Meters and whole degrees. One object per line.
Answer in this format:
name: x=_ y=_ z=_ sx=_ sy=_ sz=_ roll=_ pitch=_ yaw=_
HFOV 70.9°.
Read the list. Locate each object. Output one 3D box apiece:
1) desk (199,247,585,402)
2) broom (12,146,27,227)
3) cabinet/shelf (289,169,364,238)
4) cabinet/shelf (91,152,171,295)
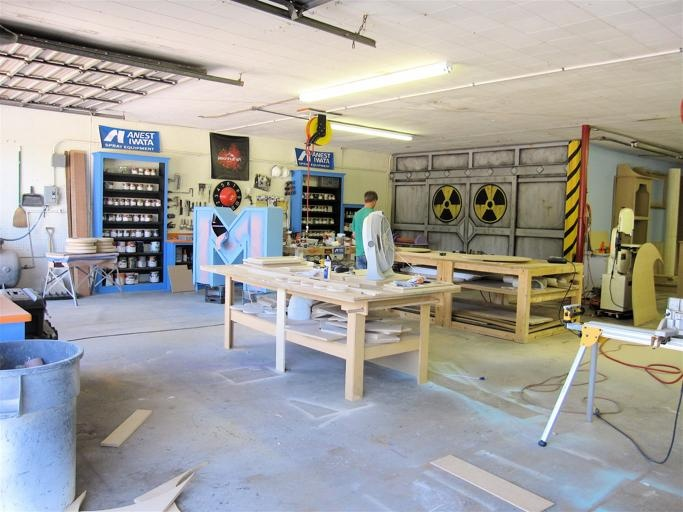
desk: x=-0.258 y=0.701 z=5.681 sx=2.636 sy=1.115 sz=1.368 roll=10 pitch=13 yaw=43
broom: x=-5.911 y=-1.209 z=8.834 sx=0.347 sy=1.402 sz=0.136 roll=-14 pitch=-9 yaw=38
cabinet/shelf: x=-0.530 y=-1.346 z=12.456 sx=1.918 sy=1.730 sz=0.630 roll=-5 pitch=14 yaw=-34
cabinet/shelf: x=-4.316 y=-0.690 z=9.860 sx=1.500 sy=2.785 sz=0.766 roll=-4 pitch=13 yaw=-30
